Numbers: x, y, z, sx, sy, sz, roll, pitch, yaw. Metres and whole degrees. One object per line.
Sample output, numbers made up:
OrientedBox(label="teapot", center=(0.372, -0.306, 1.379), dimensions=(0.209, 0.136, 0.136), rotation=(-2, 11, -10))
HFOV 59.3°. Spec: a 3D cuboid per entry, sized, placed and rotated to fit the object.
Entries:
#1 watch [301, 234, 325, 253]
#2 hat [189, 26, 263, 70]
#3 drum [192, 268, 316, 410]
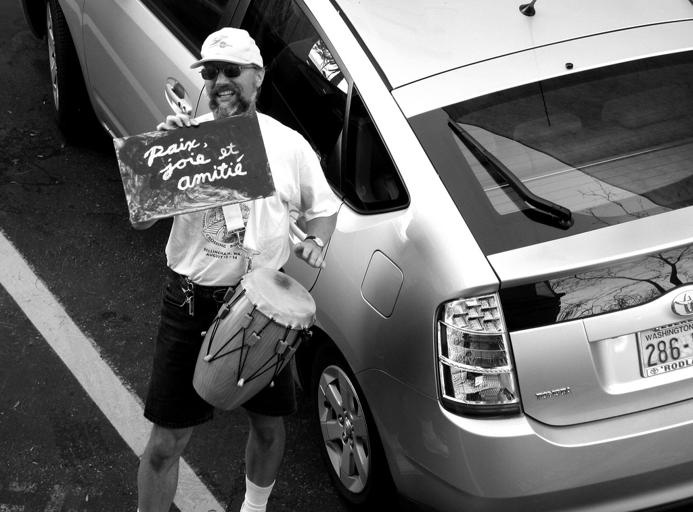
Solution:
OrientedBox(label="watch", center=(-0.141, -0.052, 2.585), dimensions=(0.084, 0.067, 0.077), rotation=(-2, 39, 16))
OrientedBox(label="hat", center=(-0.515, -0.874, 2.601), dimensions=(0.299, 0.196, 0.366), rotation=(-6, 9, -20))
OrientedBox(label="drum", center=(-0.416, 0.330, 2.565), dimensions=(0.546, 0.399, 0.422), rotation=(-49, 31, 17))
